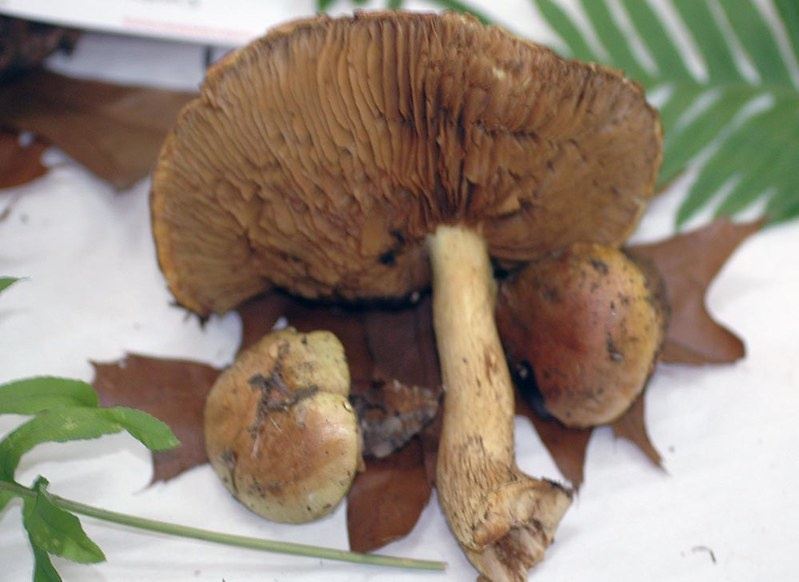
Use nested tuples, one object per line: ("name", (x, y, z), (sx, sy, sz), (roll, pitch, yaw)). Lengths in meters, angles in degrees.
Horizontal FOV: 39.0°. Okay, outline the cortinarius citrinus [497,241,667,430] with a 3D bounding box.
("cortinarius citrinus", (0.332, 0.064, 2.049), (0.309, 0.147, 0.335), (-23, 92, 6))
